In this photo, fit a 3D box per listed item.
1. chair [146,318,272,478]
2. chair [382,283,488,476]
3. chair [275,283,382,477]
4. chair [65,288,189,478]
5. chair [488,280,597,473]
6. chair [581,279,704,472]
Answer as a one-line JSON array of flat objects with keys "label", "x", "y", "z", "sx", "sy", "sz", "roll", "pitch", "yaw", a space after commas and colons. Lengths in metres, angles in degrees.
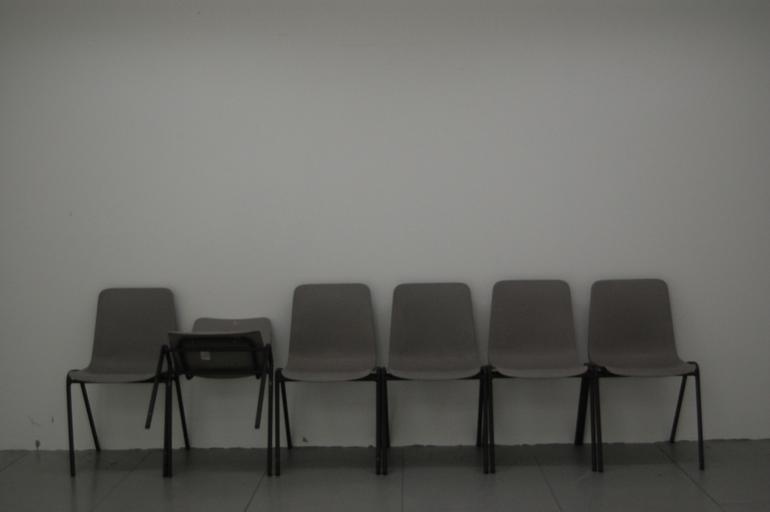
[{"label": "chair", "x": -1.135, "y": 0.863, "z": 4.545, "sx": 0.654, "sy": 1.083, "sz": 0.752, "roll": -1, "pitch": -15, "yaw": -12}, {"label": "chair", "x": 0.375, "y": 0.858, "z": 4.806, "sx": 0.764, "sy": 1.302, "sz": 0.449, "roll": 1, "pitch": 3, "yaw": 1}, {"label": "chair", "x": -0.404, "y": 0.884, "z": 4.792, "sx": 0.776, "sy": 1.342, "sz": 0.520, "roll": 1, "pitch": 3, "yaw": -4}, {"label": "chair", "x": -1.837, "y": 0.874, "z": 4.689, "sx": 0.843, "sy": 1.266, "sz": 0.912, "roll": -1, "pitch": -2, "yaw": 17}, {"label": "chair", "x": 1.080, "y": 0.839, "z": 4.613, "sx": 0.941, "sy": 1.310, "sz": 0.981, "roll": -4, "pitch": -3, "yaw": 35}, {"label": "chair", "x": 1.873, "y": 0.850, "z": 4.782, "sx": 0.862, "sy": 1.339, "sz": 0.467, "roll": 1, "pitch": 3, "yaw": -2}]
